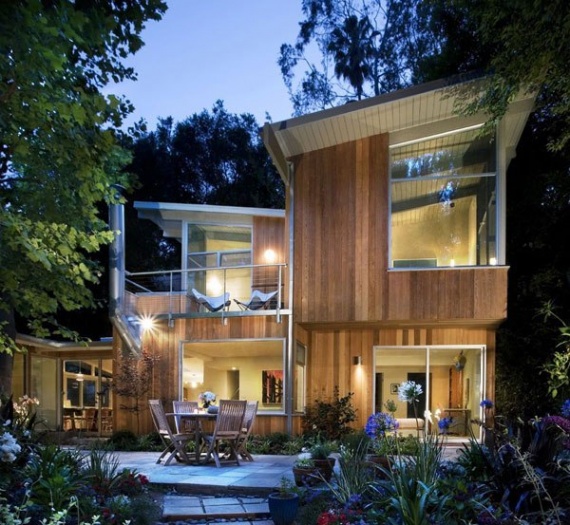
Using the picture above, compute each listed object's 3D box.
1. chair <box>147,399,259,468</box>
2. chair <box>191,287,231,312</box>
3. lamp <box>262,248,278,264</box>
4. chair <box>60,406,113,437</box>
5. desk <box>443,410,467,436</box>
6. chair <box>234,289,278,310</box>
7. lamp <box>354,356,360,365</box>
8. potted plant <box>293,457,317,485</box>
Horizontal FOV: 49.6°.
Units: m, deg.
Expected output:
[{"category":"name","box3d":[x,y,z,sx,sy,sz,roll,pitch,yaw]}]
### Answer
[{"category":"chair","box3d":[-1.392,2.924,10.395,1.353,0.849,1.487,-5,-15,21]},{"category":"chair","box3d":[-1.508,0.877,13.476,0.585,0.325,0.552,9,-4,-43]},{"category":"lamp","box3d":[-0.369,-0.181,15.727,0.299,0.360,0.078,1,-12,6]},{"category":"chair","box3d":[-5.407,4.269,16.758,1.453,0.649,1.303,1,-10,-7]},{"category":"desk","box3d":[4.123,3.796,14.742,0.578,0.642,0.456,-3,-9,16]},{"category":"chair","box3d":[-0.536,0.828,13.498,0.599,0.380,0.554,-11,-10,40]},{"category":"lamp","box3d":[1.634,2.226,14.105,0.144,0.196,0.160,2,-10,-3]},{"category":"potted plant","box3d":[0.273,2.641,7.784,0.228,0.304,0.461,4,-11,-26]}]
